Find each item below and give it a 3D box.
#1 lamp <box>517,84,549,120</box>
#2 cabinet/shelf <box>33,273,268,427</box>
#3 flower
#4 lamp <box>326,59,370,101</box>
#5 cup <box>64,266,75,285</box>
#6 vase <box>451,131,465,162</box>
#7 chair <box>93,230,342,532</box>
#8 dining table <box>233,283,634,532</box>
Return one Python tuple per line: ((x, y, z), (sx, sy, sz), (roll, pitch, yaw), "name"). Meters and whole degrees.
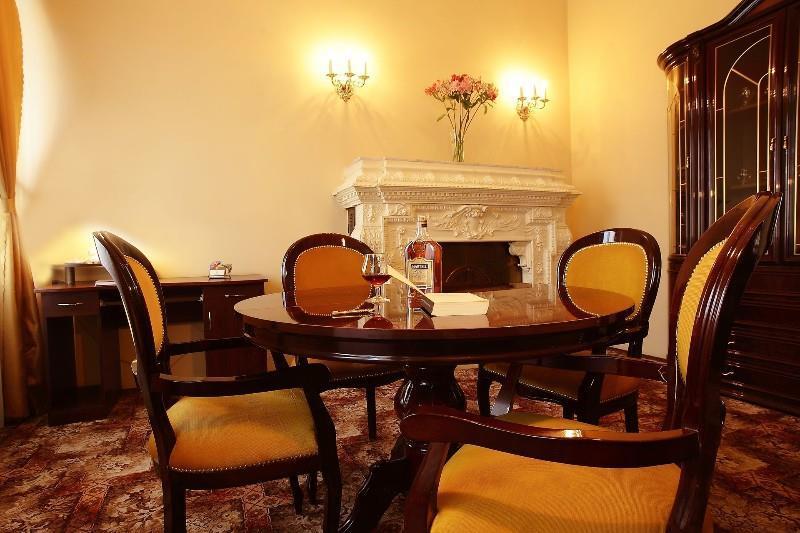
((1.356, -1.713, 5.572), (0.388, 0.397, 0.213), (-4, 5, -31), "lamp")
((-1.634, 0.521, 3.383), (1.052, 0.686, 0.362), (-1, 1, -32), "cabinet/shelf")
((0.518, -1.254, 4.662), (0.597, 0.717, 0.599), (1, -2, 7), "flower")
((-0.463, -1.687, 4.870), (0.367, 0.377, 0.372), (19, 29, 34), "lamp")
((-2.421, 0.056, 3.940), (0.061, 0.132, 0.191), (-7, 7, -32), "cup")
((0.515, -1.078, 4.834), (0.095, 0.289, 0.272), (-2, 6, 5), "vase")
((-0.806, 0.459, 3.214), (1.356, 1.890, 1.311), (-2, 0, -17), "chair")
((0.177, 0.828, 2.540), (1.365, 0.858, 1.373), (0, 7, 9), "dining table")
